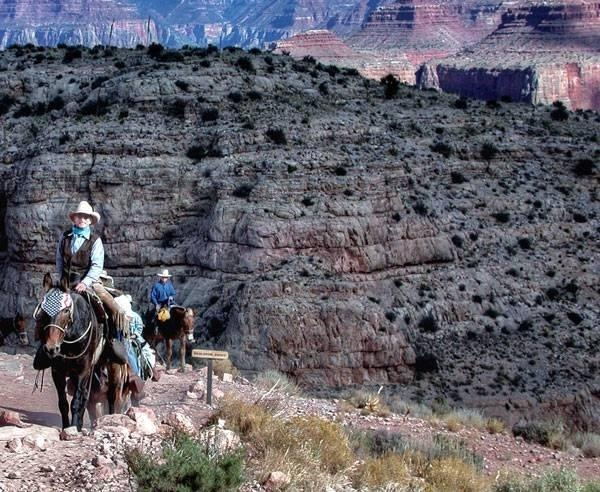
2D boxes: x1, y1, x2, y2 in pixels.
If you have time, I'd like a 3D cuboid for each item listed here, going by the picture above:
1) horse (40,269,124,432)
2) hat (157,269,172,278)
[{"bbox_3d":[-5.643,2.733,19.947,1.178,4.216,2.385,13,13,38],"label":"horse"},{"bbox_3d":[-5.744,1.138,33.110,0.454,0.223,0.547,7,-7,-17],"label":"hat"}]
